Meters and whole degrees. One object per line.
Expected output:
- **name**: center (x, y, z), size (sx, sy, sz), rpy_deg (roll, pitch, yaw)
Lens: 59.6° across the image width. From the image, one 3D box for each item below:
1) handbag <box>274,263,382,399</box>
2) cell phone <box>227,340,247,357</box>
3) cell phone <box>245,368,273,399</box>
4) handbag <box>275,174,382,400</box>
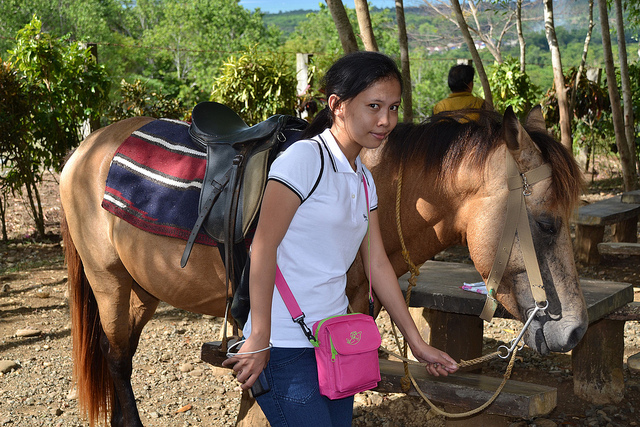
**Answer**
- **handbag**: center (0.046, 0.577, 3.080), size (0.487, 0.884, 0.446), rpy_deg (-5, -15, -11)
- **cell phone**: center (-0.462, 0.741, 2.983), size (0.024, 0.099, 0.104), rpy_deg (41, 33, 22)
- **cell phone**: center (-0.303, 0.899, 2.902), size (0.110, 0.153, 0.052), rpy_deg (-2, 14, -7)
- **handbag**: center (0.068, 0.398, 3.053), size (0.570, 1.184, 0.372), rpy_deg (-3, -7, -26)
